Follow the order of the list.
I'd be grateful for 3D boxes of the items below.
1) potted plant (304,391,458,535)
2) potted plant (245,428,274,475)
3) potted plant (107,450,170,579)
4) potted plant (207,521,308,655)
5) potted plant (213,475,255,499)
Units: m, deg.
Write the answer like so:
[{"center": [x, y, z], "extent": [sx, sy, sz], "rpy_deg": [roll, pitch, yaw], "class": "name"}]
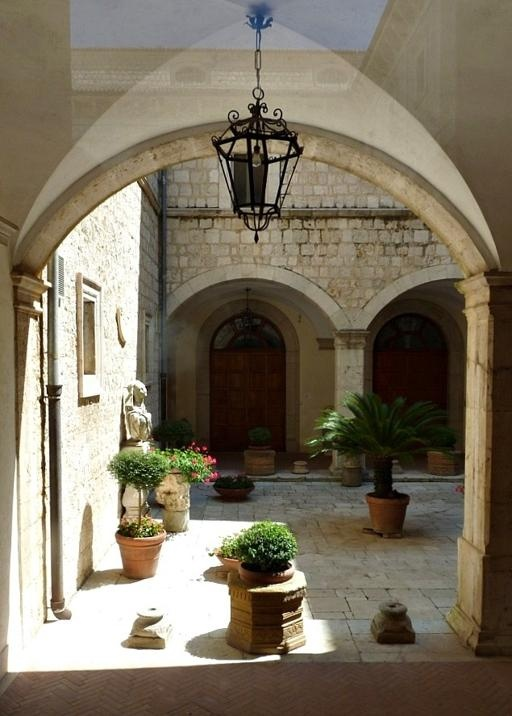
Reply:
[{"center": [1.596, 1.073, 8.049], "extent": [1.927, 1.735, 1.918], "rpy_deg": [0, -5, -2], "class": "potted plant"}, {"center": [0.067, 1.582, 10.793], "extent": [0.508, 0.783, 0.688], "rpy_deg": [0, -3, 0], "class": "potted plant"}, {"center": [-1.054, 1.394, 5.670], "extent": [0.541, 1.075, 0.529], "rpy_deg": [1, -4, -21], "class": "potted plant"}, {"center": [0.058, 1.441, 3.994], "extent": [0.510, 0.743, 0.359], "rpy_deg": [0, -3, 4], "class": "potted plant"}, {"center": [-0.323, 1.842, 8.976], "extent": [0.538, 0.319, 0.419], "rpy_deg": [0, -3, 0], "class": "potted plant"}]
